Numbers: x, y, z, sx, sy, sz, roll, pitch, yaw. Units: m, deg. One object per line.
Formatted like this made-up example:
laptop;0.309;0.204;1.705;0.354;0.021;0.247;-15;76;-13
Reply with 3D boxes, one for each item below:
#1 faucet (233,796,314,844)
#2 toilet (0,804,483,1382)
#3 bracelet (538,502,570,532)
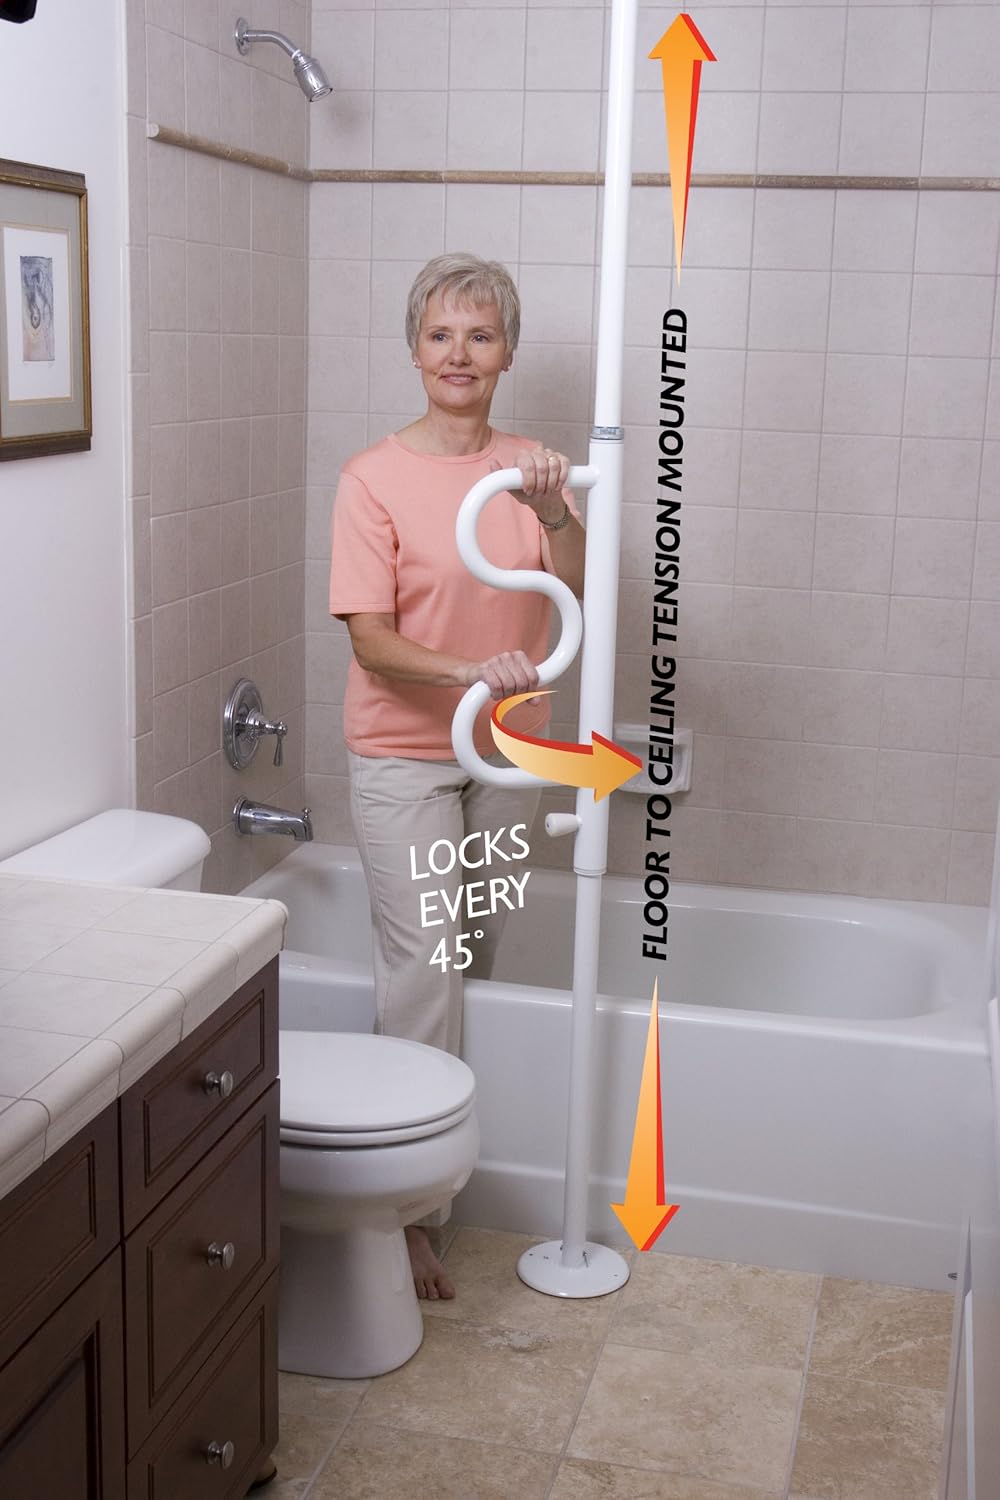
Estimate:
faucet;-0.455;0.145;2.433;0.126;0.077;0.088;5;2;16
toilet;-0.201;0.471;1.928;0.792;0.841;0.517;2;9;9
bracelet;0.084;-0.360;1.833;0.044;0.044;0.080;3;5;9
